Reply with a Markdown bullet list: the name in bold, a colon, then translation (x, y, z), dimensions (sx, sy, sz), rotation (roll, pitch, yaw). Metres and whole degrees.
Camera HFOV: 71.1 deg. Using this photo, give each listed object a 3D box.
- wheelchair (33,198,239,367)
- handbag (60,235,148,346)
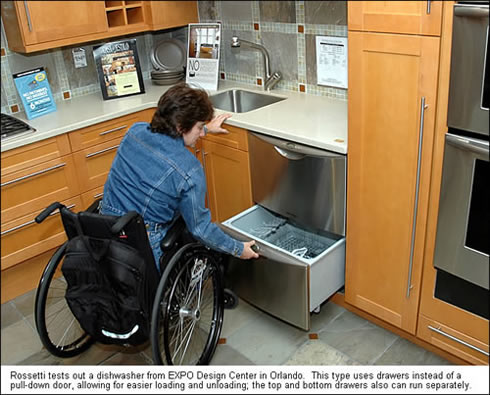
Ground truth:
- **wheelchair**: translation (-0.510, 0.459, 1.712), dimensions (0.520, 0.729, 0.700), rotation (8, 51, 17)
- **handbag**: translation (-0.629, 0.423, 1.547), dimensions (0.396, 0.516, 0.121), rotation (7, 8, 13)
